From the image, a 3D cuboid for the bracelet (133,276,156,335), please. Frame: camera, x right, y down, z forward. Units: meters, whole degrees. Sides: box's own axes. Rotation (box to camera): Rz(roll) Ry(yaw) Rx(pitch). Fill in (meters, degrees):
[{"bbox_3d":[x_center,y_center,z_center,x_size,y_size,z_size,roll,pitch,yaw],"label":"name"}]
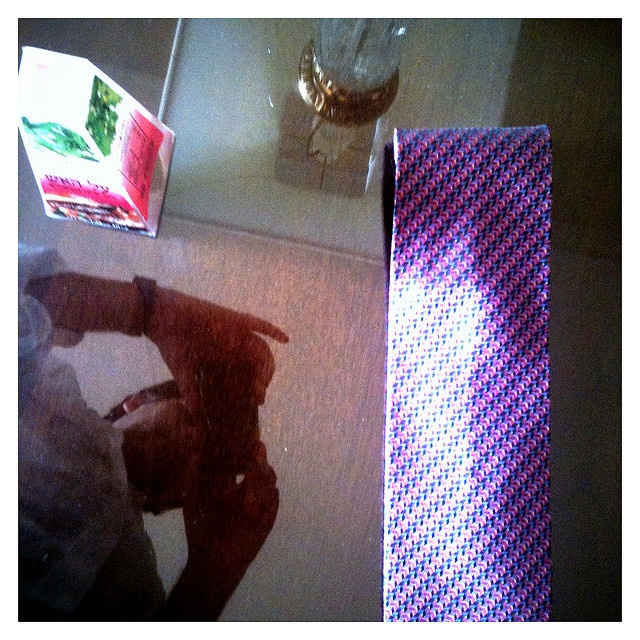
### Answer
[{"bbox_3d":[-0.209,-0.017,0.741,0.044,0.016,0.079,7,95,38],"label":"bracelet"}]
